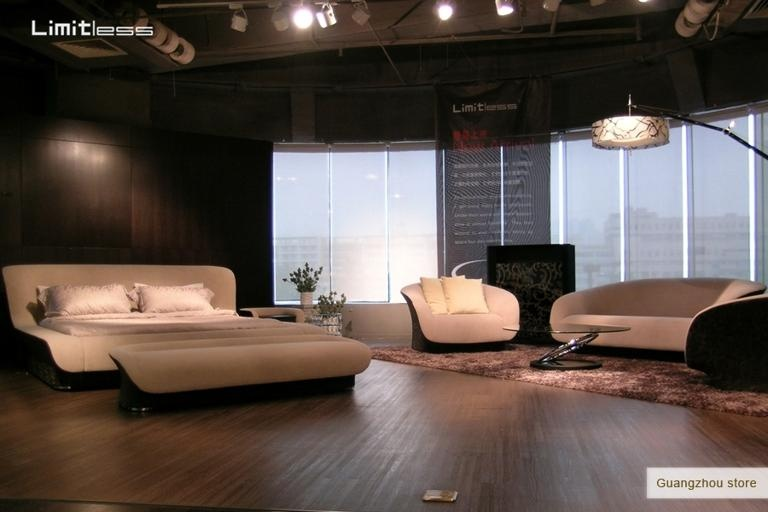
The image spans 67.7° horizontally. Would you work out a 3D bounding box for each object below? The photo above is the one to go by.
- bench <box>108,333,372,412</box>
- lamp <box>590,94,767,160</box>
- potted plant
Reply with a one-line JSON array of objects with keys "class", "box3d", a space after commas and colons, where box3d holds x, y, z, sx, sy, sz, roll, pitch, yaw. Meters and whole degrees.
[{"class": "bench", "box3d": [-1.245, 1.010, 5.031, 2.069, 0.543, 0.433, -2, 5, -21]}, {"class": "lamp", "box3d": [3.229, -1.611, 6.896, 1.341, 0.564, 1.904, 0, 4, 13]}, {"class": "potted plant", "box3d": [-1.198, 0.723, 9.276, 1.174, 1.753, 1.127, -1, -6, 3]}]
